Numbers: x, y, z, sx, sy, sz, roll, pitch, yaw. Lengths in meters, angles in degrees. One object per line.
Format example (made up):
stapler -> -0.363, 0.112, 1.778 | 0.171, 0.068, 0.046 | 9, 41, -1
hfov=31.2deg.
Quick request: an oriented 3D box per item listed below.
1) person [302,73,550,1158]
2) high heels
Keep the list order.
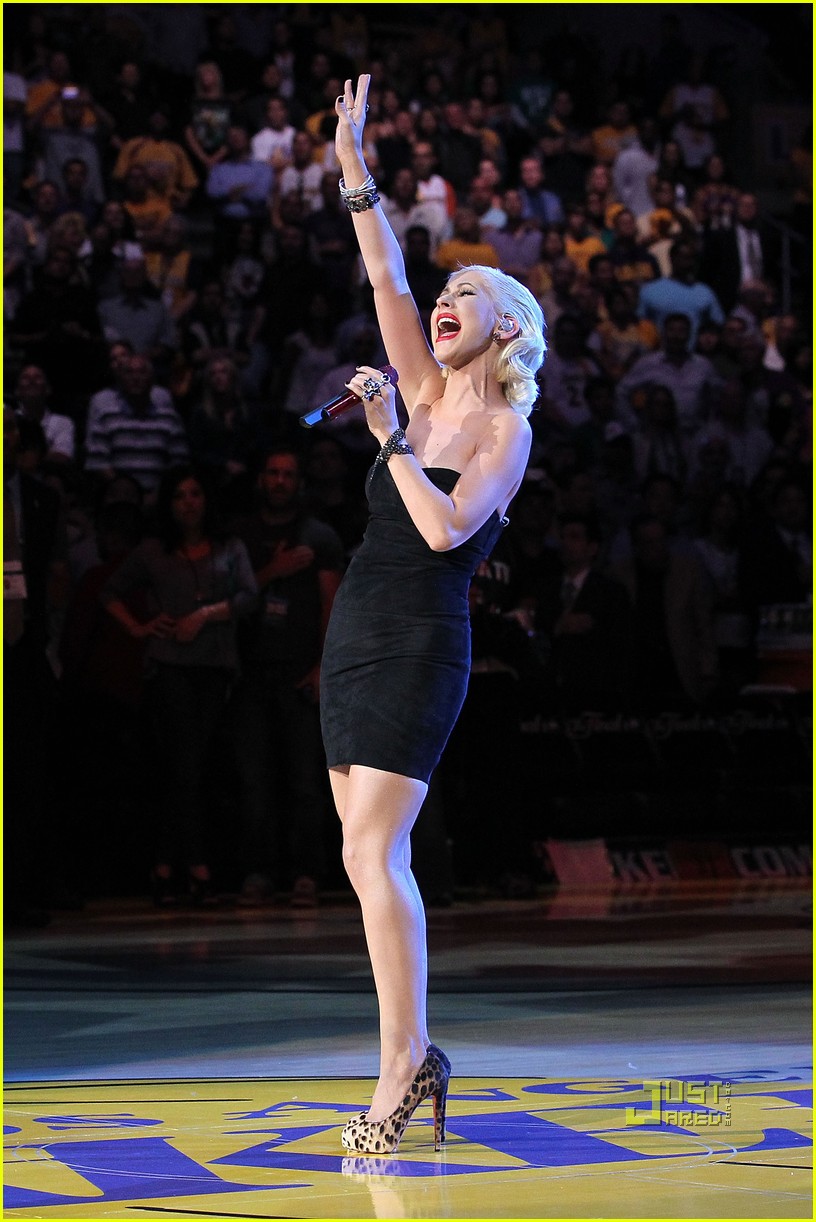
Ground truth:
person -> 0.036, -0.001, 2.341 | 0.357, 1.794, 0.608 | 0, 9, 5
high heels -> -0.005, 0.759, 2.287 | 0.234, 0.163, 0.108 | -3, -10, -3
